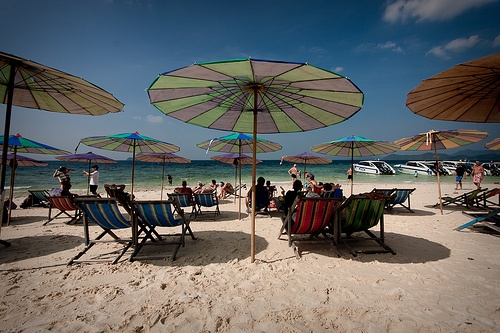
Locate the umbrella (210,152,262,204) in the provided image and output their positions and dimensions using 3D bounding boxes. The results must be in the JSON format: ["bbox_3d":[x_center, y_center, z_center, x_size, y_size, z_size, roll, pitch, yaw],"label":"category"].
[{"bbox_3d":[-0.226,0.397,13.588,2.311,1.575,2.148,1,-2,-29],"label":"umbrella"}]

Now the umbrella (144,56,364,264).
[{"bbox_3d":[0.222,0.111,7.345,4.310,4.060,3.011,-3,-3,15],"label":"umbrella"}]

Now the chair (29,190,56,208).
[{"bbox_3d":[-7.325,1.168,11.677,0.743,0.338,1.177,1,-10,-7],"label":"chair"}]

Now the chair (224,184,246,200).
[{"bbox_3d":[-0.632,1.137,15.451,1.160,0.555,0.537,1,-3,-3],"label":"chair"}]

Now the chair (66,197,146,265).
[{"bbox_3d":[-3.395,1.447,7.609,1.394,1.492,0.898,-1,-3,-12],"label":"chair"}]

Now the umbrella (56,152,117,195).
[{"bbox_3d":[-10.279,0.585,21.013,3.774,2.624,3.488,2,0,-30],"label":"umbrella"}]

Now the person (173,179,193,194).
[{"bbox_3d":[-2.169,0.661,10.861,0.578,0.694,0.470,5,-11,-5],"label":"person"}]

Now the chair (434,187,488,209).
[{"bbox_3d":[7.307,1.166,11.972,1.101,0.836,1.870,-4,1,-35],"label":"chair"}]

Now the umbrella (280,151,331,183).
[{"bbox_3d":[2.583,0.026,14.913,1.968,1.091,1.618,-2,-21,12],"label":"umbrella"}]

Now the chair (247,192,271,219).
[{"bbox_3d":[0.402,1.189,10.903,0.941,1.008,0.872,0,6,3],"label":"chair"}]

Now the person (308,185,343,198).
[{"bbox_3d":[1.753,0.681,8.612,1.108,0.384,0.611,-2,-2,40],"label":"person"}]
